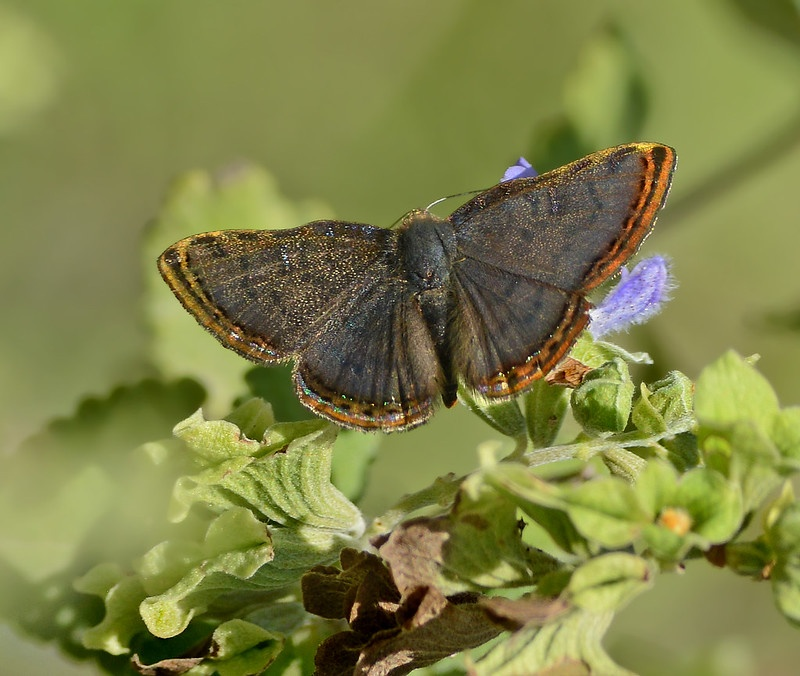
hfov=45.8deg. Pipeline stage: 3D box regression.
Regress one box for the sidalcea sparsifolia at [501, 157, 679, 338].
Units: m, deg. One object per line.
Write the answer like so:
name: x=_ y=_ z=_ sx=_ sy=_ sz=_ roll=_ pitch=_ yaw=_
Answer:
sidalcea sparsifolia: x=0.382 y=-0.064 z=1.632 sx=0.099 sy=0.142 sz=0.212 roll=32 pitch=32 yaw=27

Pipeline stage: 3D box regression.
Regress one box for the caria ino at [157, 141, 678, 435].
caria ino: x=0.024 y=-0.075 z=1.767 sx=1.195 sy=0.121 sz=0.481 roll=-10 pitch=73 yaw=0
